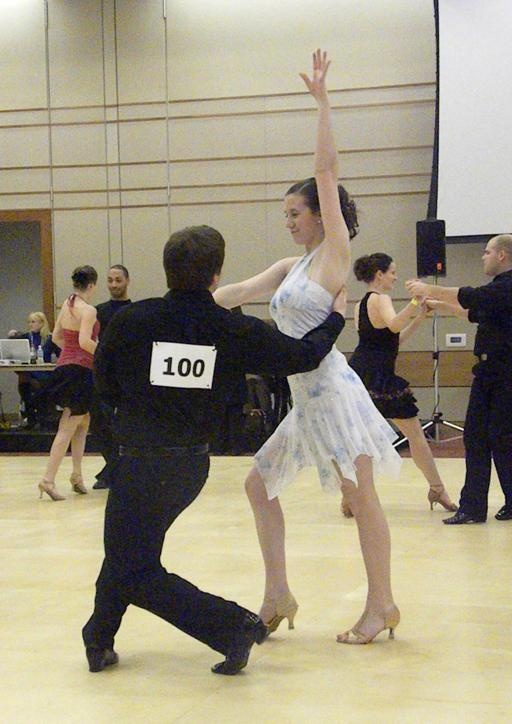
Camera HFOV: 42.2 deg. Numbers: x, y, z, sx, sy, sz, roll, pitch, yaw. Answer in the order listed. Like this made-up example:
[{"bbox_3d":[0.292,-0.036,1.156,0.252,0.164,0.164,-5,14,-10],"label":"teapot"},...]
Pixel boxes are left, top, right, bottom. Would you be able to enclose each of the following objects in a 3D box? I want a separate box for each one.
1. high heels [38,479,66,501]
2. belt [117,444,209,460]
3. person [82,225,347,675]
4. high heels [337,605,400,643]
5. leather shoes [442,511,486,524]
[{"bbox_3d":[-1.475,0.929,4.829,0.166,0.158,0.349,-1,-5,-17],"label":"high heels"},{"bbox_3d":[-0.212,0.210,1.564,0.213,0.033,0.126,-1,-5,-9],"label":"belt"},{"bbox_3d":[-0.121,0.220,1.603,0.621,1.092,0.307,-2,-5,-6],"label":"person"},{"bbox_3d":[0.313,0.739,1.891,0.216,0.132,0.081,3,-5,-4],"label":"high heels"},{"bbox_3d":[1.160,0.889,3.760,0.251,0.089,0.086,5,-3,-2],"label":"leather shoes"}]
